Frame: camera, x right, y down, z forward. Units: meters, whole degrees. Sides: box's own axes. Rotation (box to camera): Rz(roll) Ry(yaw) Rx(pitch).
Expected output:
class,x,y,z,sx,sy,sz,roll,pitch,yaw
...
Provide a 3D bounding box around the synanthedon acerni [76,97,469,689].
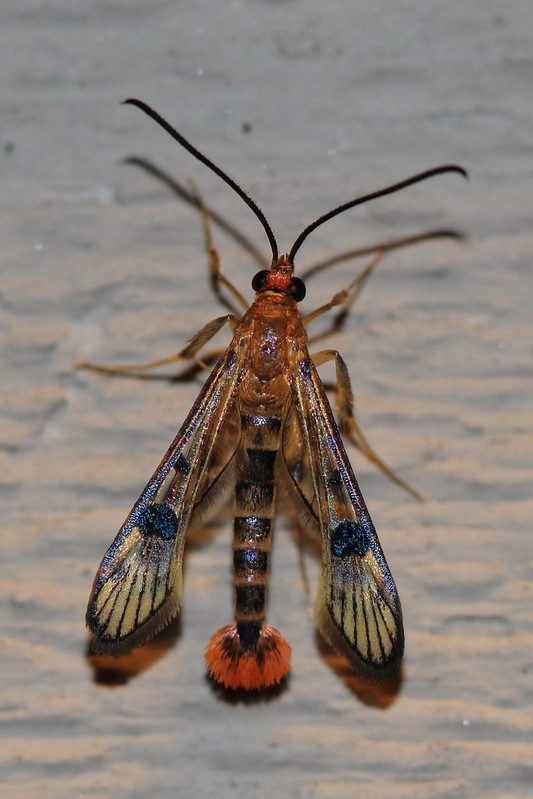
class,x,y,z,sx,sy,sz,roll,pitch,yaw
synanthedon acerni,-0.029,0.057,3.239,1.375,0.347,1.837,8,88,17
